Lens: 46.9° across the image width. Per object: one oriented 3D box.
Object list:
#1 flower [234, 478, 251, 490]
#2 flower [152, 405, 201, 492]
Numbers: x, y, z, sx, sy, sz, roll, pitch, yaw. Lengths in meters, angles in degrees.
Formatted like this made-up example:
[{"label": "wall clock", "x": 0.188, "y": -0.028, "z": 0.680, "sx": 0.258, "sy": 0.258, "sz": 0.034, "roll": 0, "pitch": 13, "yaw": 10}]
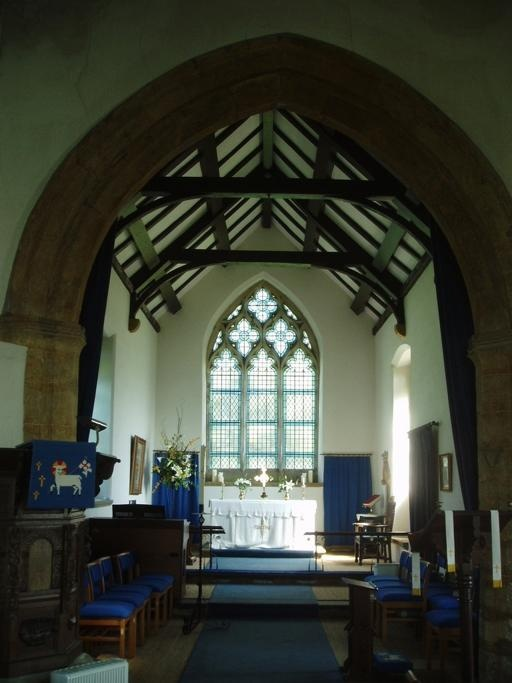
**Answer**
[{"label": "flower", "x": -0.250, "y": 2.694, "z": 11.122, "sx": 0.274, "sy": 0.203, "sz": 0.290, "roll": 1, "pitch": -17, "yaw": 4}, {"label": "flower", "x": -1.432, "y": 2.064, "z": 10.556, "sx": 0.675, "sy": 0.858, "sz": 0.766, "roll": 6, "pitch": 13, "yaw": -3}]
